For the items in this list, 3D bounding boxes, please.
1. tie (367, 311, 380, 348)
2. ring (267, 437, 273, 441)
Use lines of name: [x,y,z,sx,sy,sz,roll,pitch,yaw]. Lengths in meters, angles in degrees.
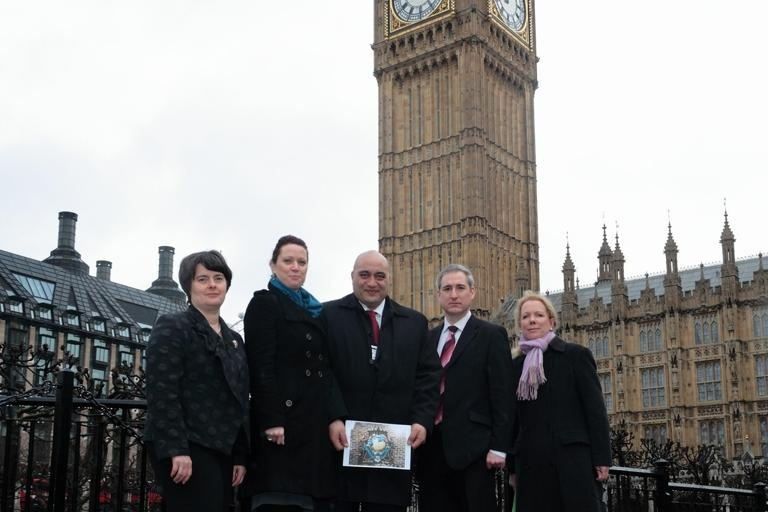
tie: [-0.150,0.996,14.299,0.127,0.395,0.295,-9,12,19]
ring: [-1.538,2.436,13.549,0.072,0.059,0.037,-1,-17,-2]
